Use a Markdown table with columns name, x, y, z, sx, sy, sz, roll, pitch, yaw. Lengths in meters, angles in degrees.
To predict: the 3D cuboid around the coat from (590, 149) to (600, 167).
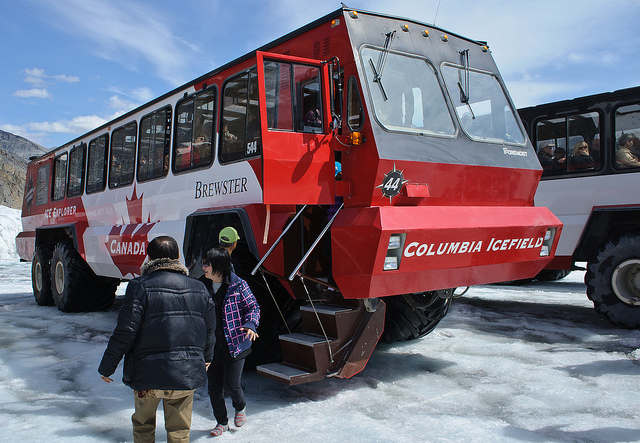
| name | x | y | z | sx | sy | sz | roll | pitch | yaw |
| --- | --- | --- | --- | --- | --- | --- | --- | --- | --- |
| coat | 5.726 | -1.341 | 8.414 | 0.083 | 0.348 | 0.258 | 0 | 0 | -8 |

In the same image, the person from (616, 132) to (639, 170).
| name | x | y | z | sx | sy | sz | roll | pitch | yaw |
| --- | --- | --- | --- | --- | --- | --- | --- | --- | --- |
| person | 6.073 | -1.417 | 8.027 | 0.329 | 0.763 | 0.224 | 0 | 0 | 35 |

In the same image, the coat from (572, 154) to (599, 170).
| name | x | y | z | sx | sy | sz | roll | pitch | yaw |
| --- | --- | --- | --- | --- | --- | --- | --- | --- | --- |
| coat | 5.546 | -1.239 | 8.490 | 0.256 | 0.140 | 0.369 | -3 | -2 | -17 |

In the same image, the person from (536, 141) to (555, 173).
| name | x | y | z | sx | sy | sz | roll | pitch | yaw |
| --- | --- | --- | --- | --- | --- | --- | --- | --- | --- |
| person | 5.142 | -1.378 | 9.339 | 0.409 | 0.960 | 0.561 | 2 | -1 | 20 |

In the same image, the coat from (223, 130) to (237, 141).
| name | x | y | z | sx | sy | sz | roll | pitch | yaw |
| --- | --- | --- | --- | --- | --- | --- | --- | --- | --- |
| coat | -1.269 | -1.206 | 5.687 | 0.024 | 0.148 | 0.345 | -1 | 0 | -44 |
